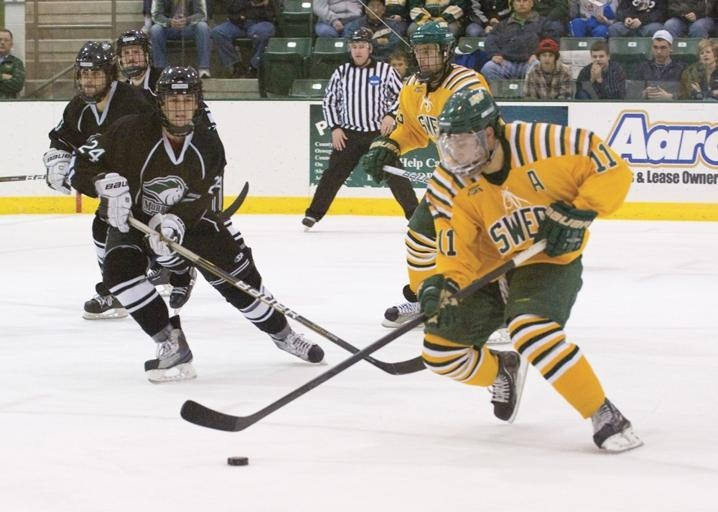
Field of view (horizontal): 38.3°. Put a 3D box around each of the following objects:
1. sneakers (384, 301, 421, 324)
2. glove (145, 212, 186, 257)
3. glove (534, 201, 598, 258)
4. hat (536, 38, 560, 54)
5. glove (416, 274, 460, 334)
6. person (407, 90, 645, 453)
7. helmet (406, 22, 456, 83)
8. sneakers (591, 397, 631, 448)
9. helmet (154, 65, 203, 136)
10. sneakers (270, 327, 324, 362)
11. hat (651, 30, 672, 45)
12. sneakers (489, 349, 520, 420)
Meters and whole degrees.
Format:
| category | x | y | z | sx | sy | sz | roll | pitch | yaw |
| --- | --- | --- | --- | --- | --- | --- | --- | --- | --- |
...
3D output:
| category | x | y | z | sx | sy | sz | roll | pitch | yaw |
| --- | --- | --- | --- | --- | --- | --- | --- | --- | --- |
| sneakers | 0.249 | 0.313 | 5.826 | 0.269 | 0.093 | 0.096 | -17 | 10 | -41 |
| glove | -0.924 | -0.092 | 4.930 | 0.170 | 0.211 | 0.161 | -2 | 14 | -9 |
| glove | 0.874 | -0.112 | 4.283 | 0.275 | 0.225 | 0.202 | 6 | 10 | 11 |
| hat | 1.747 | -1.956 | 9.561 | 0.156 | 0.114 | 0.209 | 1 | -4 | 41 |
| glove | 0.329 | 0.199 | 4.316 | 0.098 | 0.209 | 0.236 | 13 | 20 | 36 |
| person | 0.677 | 0.038 | 4.259 | 0.857 | 1.423 | 0.556 | 2 | 15 | 7 |
| helmet | 0.379 | -1.044 | 5.340 | 0.328 | 0.337 | 0.308 | 0 | 12 | 18 |
| sneakers | 1.017 | 0.677 | 4.157 | 0.143 | 0.172 | 0.092 | -4 | 15 | -18 |
| helmet | -0.851 | -0.724 | 4.870 | 0.208 | 0.320 | 0.213 | -1 | 14 | -2 |
| sneakers | -0.323 | 0.453 | 5.193 | 0.256 | 0.077 | 0.104 | 24 | -2 | 17 |
| hat | 2.847 | -2.045 | 9.653 | 0.138 | 0.091 | 0.180 | 5 | 12 | 21 |
| sneakers | 0.635 | 0.556 | 4.428 | 0.134 | 0.283 | 0.110 | 6 | -6 | -35 |
